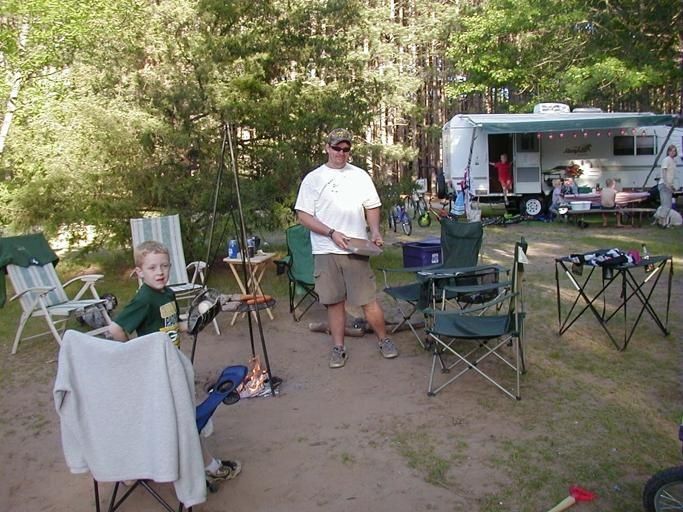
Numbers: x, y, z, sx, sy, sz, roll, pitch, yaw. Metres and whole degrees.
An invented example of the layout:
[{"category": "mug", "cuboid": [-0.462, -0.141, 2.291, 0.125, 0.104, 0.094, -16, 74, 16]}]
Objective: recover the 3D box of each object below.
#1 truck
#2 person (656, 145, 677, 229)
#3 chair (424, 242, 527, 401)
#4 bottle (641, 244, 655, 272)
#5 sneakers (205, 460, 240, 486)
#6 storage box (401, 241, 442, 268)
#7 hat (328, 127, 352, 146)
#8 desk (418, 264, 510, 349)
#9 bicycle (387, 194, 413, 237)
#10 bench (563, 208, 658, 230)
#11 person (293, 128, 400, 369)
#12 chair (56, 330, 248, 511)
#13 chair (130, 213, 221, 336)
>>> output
[{"category": "truck", "cuboid": [5.529, -2.554, 14.636, 4.353, 2.231, 3.091, -2, 11, -2]}, {"category": "person", "cuboid": [7.136, -1.549, 12.722, 0.331, 1.748, 0.814, 4, 13, 30]}, {"category": "chair", "cuboid": [1.329, 0.601, 5.964, 1.177, 1.913, 1.283, 0, -1, 9]}, {"category": "bottle", "cuboid": [3.687, 0.020, 6.962, 0.112, 0.416, 0.351, -6, 10, 34]}, {"category": "sneakers", "cuboid": [-0.873, 1.592, 4.293, 0.279, 0.149, 0.118, -4, 15, -19]}, {"category": "storage box", "cuboid": [0.975, -0.008, 7.310, 0.358, 0.238, 0.367, -1, -1, 42]}, {"category": "hat", "cuboid": [-0.013, -1.154, 5.592, 0.213, 0.145, 0.143, -6, 12, -10]}, {"category": "desk", "cuboid": [1.215, 0.498, 5.779, 0.748, 1.015, 0.668, -1, 5, -25]}, {"category": "bicycle", "cuboid": [1.367, -0.892, 13.811, 0.509, 0.697, 1.020, -2, 4, -17]}, {"category": "bench", "cuboid": [6.452, -1.018, 14.029, 1.963, 0.536, 2.633, 3, 13, 28]}, {"category": "person", "cuboid": [0.043, 0.086, 5.821, 0.917, 1.976, 0.553, -4, 12, -5]}, {"category": "chair", "cuboid": [-1.286, 1.159, 3.876, 1.009, 1.257, 0.502, 5, 17, 4]}, {"category": "chair", "cuboid": [-2.290, 0.147, 7.757, 1.198, 2.199, 1.494, -5, 9, -26]}]
